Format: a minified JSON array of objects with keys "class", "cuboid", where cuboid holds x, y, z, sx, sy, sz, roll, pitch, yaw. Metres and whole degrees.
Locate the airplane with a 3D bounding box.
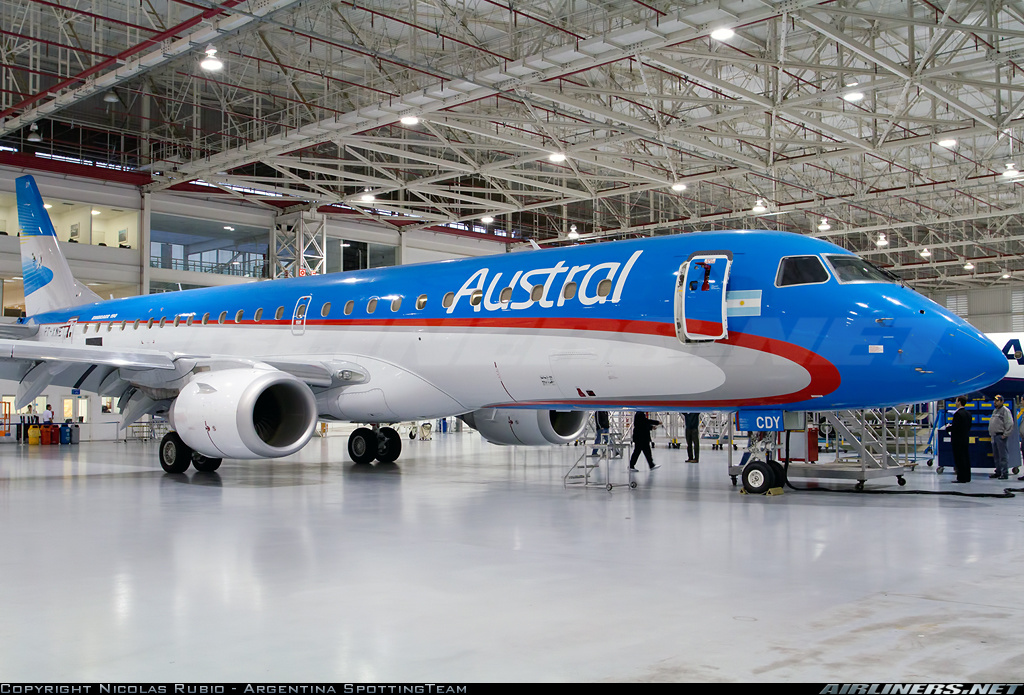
[{"class":"airplane","cuboid":[-0.104,-0.272,17.018,13.486,2.481,11.959,-2,-2,37]}]
